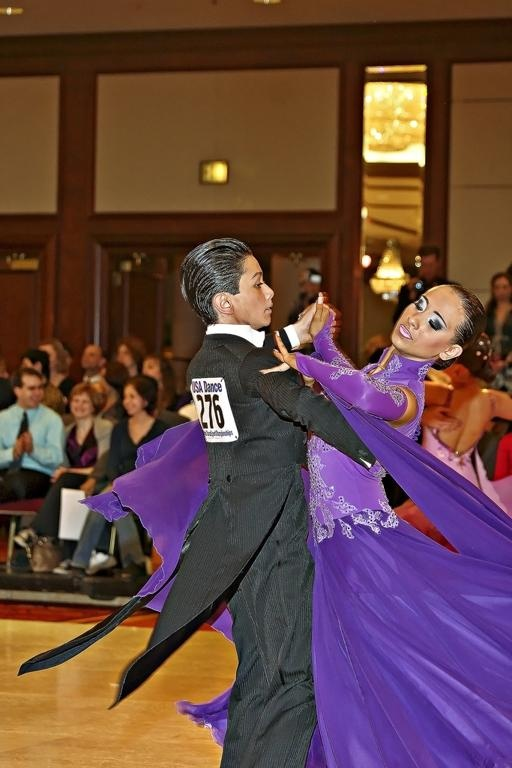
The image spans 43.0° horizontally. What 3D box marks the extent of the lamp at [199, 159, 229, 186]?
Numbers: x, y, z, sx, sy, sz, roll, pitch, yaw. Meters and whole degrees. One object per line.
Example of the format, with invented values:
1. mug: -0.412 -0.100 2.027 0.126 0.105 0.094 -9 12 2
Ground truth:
1. lamp: -0.303 -1.459 4.511 0.174 0.148 0.040 1 22 5

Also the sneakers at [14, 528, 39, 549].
1. sneakers: -1.388 0.938 3.957 0.094 0.108 0.119 21 36 21

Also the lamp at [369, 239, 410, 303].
1. lamp: 1.938 -1.663 9.437 0.579 0.958 0.534 0 -8 13

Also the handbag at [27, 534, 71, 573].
1. handbag: -1.274 1.033 3.972 0.259 0.248 0.142 -2 5 -40
